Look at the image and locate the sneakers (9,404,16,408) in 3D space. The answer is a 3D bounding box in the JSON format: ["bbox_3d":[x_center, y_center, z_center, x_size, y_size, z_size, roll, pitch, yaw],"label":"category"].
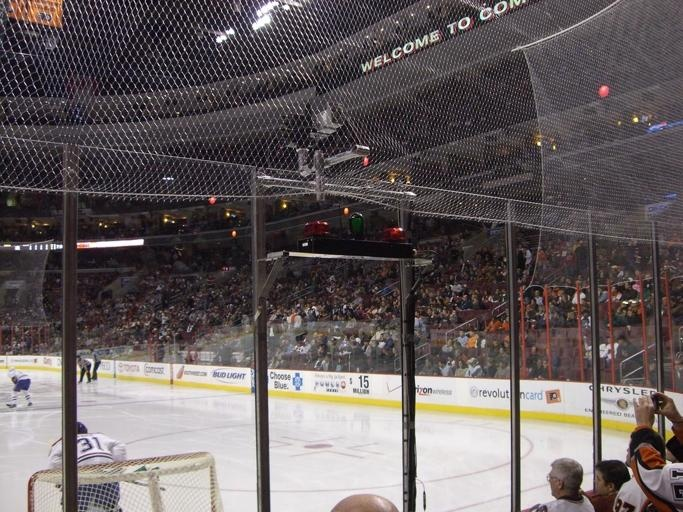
[{"bbox_3d":[-6.621,3.019,15.674,0.142,0.074,0.247,8,-11,-34],"label":"sneakers"}]

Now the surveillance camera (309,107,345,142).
[{"bbox_3d":[-0.128,-0.963,5.774,0.207,0.230,0.052,-11,19,-27],"label":"surveillance camera"}]

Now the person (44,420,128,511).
[{"bbox_3d":[-1.925,1.583,5.929,0.585,0.628,1.102,4,-10,-19],"label":"person"}]
